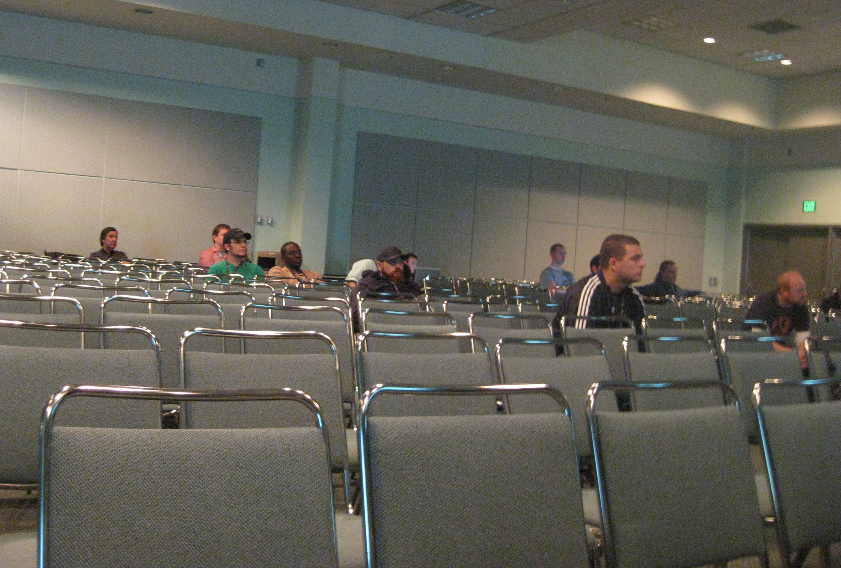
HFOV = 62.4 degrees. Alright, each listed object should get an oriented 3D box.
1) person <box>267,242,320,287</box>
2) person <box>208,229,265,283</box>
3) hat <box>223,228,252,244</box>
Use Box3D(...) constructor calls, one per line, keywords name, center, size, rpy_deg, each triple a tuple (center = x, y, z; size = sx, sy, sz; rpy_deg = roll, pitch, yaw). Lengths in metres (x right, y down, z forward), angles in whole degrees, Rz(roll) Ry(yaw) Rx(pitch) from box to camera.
Box3D(name="person", center=(-1.554, -0.233, 8.468), size=(0.498, 0.573, 0.830), rpy_deg=(2, 6, 35))
Box3D(name="person", center=(-2.099, -0.317, 7.982), size=(0.458, 0.598, 0.780), rpy_deg=(-5, -3, 37))
Box3D(name="hat", center=(-2.110, -0.563, 7.906), size=(0.293, 0.146, 0.207), rpy_deg=(-13, -13, 36))
